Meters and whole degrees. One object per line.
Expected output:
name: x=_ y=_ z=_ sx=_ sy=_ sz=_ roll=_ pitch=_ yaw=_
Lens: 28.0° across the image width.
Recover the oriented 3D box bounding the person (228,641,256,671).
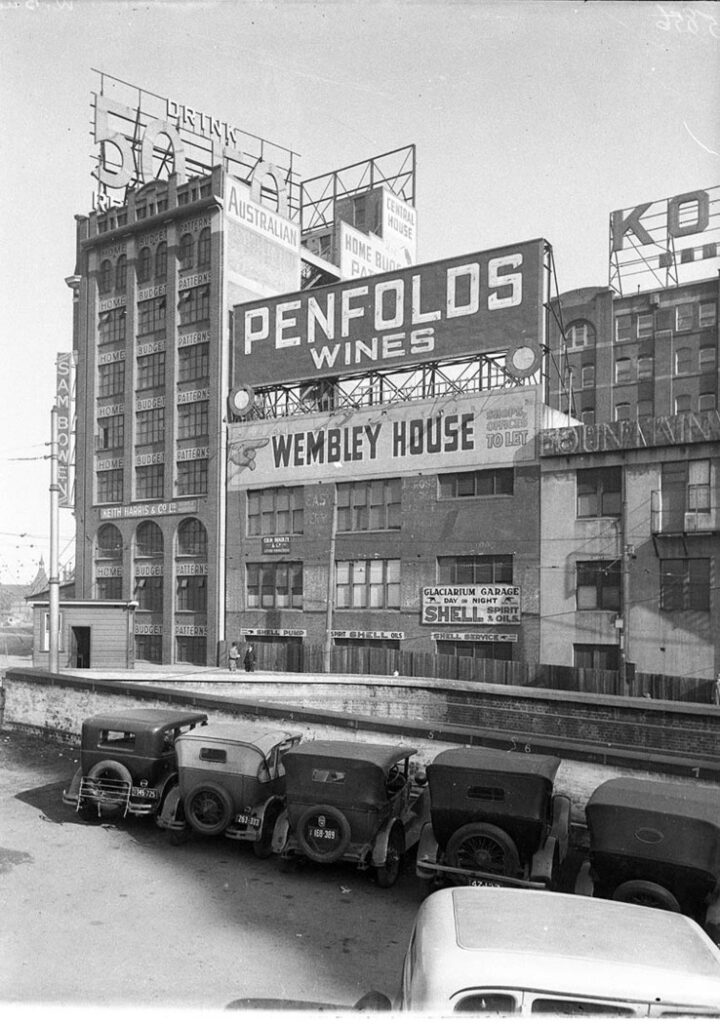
person: x=-4.360 y=5.371 z=53.169 sx=0.768 sy=1.185 sz=0.253 roll=2 pitch=-10 yaw=-8
